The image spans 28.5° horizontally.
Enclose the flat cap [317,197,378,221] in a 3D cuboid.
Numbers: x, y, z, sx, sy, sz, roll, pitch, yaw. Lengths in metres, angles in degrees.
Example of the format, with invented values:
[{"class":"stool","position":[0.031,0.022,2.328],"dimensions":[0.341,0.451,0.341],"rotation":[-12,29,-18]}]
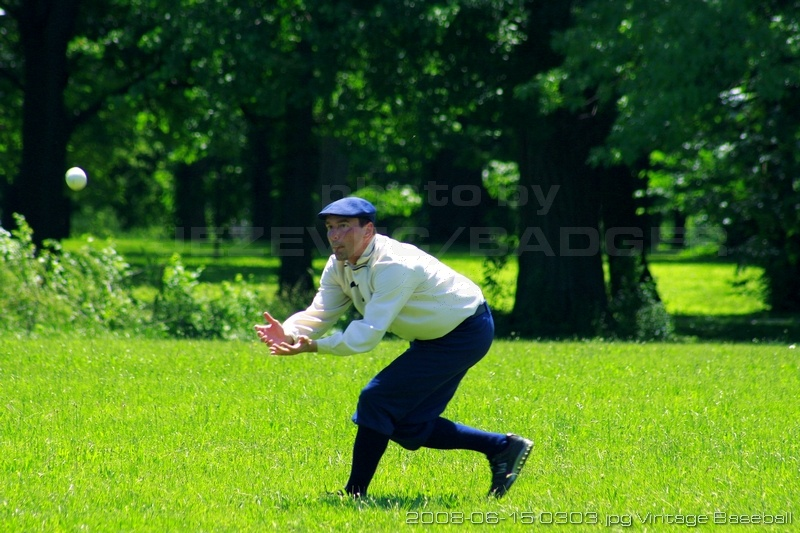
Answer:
[{"class":"flat cap","position":[-0.818,-0.954,25.655],"dimensions":[0.569,0.223,0.486],"rotation":[6,-2,-12]}]
